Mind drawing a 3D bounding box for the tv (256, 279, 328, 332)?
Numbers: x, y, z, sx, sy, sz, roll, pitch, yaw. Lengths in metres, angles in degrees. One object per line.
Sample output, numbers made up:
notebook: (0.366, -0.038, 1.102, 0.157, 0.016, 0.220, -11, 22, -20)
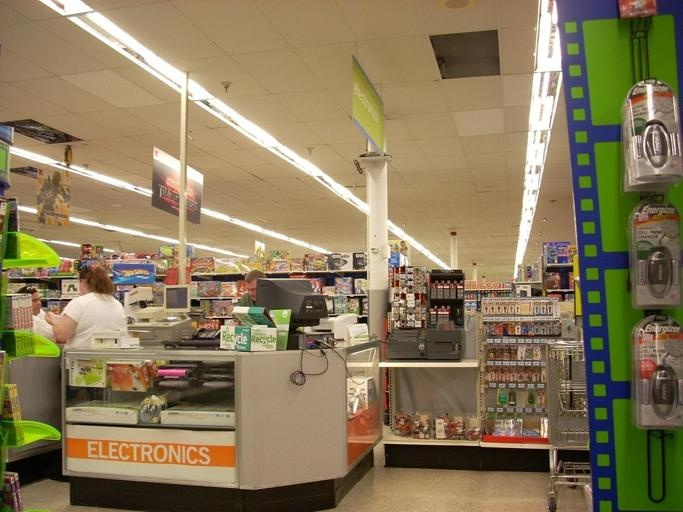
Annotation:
tv: (-0.465, 0.432, 4.957, 0.499, 0.426, 0.525, -1, -2, 32)

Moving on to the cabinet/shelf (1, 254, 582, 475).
cabinet/shelf: (-0.173, 1.199, 5.044, 4.717, 1.713, 2.660, 5, -8, -28)

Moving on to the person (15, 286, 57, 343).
person: (-2.790, 0.524, 5.125, 0.185, 0.692, 0.783, -5, 5, -35)

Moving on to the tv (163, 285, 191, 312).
tv: (-1.781, 0.463, 6.019, 0.304, 0.261, 0.155, -1, -9, -4)

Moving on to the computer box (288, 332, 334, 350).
computer box: (-0.267, 0.721, 4.723, 0.394, 0.136, 0.219, 2, -7, -11)
